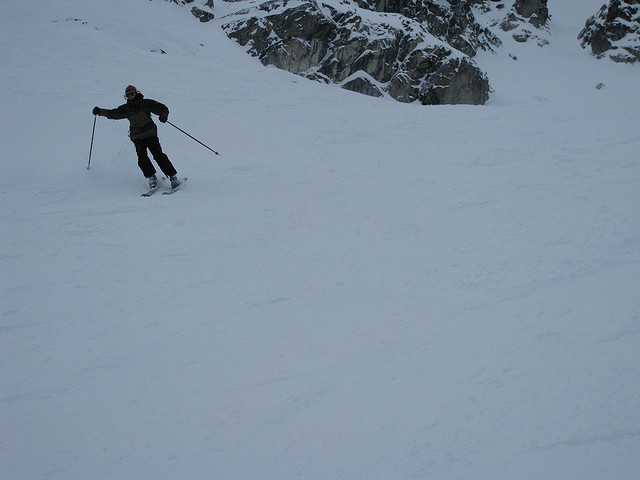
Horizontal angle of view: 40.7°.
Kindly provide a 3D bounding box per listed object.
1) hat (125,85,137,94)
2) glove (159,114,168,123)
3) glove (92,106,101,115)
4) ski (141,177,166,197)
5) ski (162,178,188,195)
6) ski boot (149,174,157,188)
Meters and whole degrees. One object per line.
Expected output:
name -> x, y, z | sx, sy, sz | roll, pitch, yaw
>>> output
hat -> -4.673, -3.740, 21.388 | 0.205, 0.159, 0.277 | 10, 29, 28
glove -> -3.882, -3.019, 21.287 | 0.173, 0.278, 0.500 | 0, 28, -7
glove -> -5.515, -3.180, 21.264 | 0.173, 0.284, 0.319 | -3, 29, -13
ski -> -4.226, -1.400, 22.148 | 0.135, 0.184, 0.821 | -30, 12, 50
ski -> -3.717, -1.427, 22.325 | 0.158, 0.170, 1.355 | 30, 24, 3
ski boot -> -4.281, -1.505, 21.992 | 0.237, 0.287, 0.312 | -2, -6, -1
